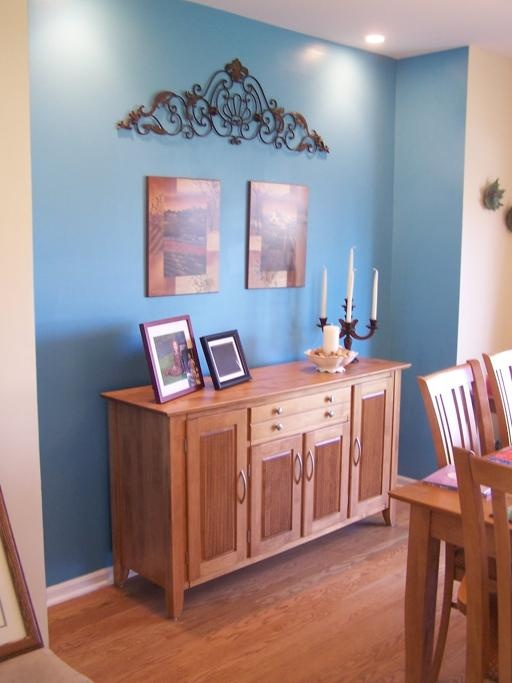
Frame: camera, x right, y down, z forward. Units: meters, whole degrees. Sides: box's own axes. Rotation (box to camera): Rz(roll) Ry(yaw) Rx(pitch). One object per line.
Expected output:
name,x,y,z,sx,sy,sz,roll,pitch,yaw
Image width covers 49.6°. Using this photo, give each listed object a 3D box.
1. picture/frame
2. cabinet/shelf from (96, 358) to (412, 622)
picture/frame,-0.221,0.056,2.171,0.157,0.310,0.547,2,3,27
cabinet/shelf,0.030,0.569,2.413,1.321,0.846,0.420,-2,4,-40
